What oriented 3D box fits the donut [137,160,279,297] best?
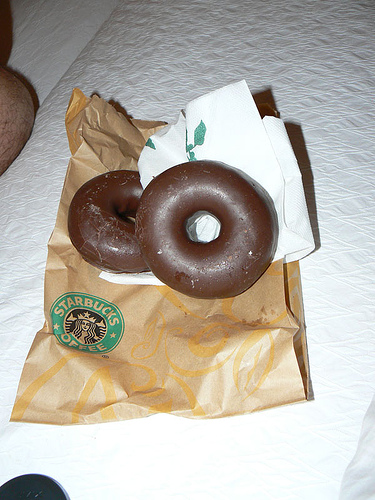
[{"bbox_3d":[0.028,-0.032,0.650,0.209,0.096,0.193,5,66,6],"label":"donut"}]
